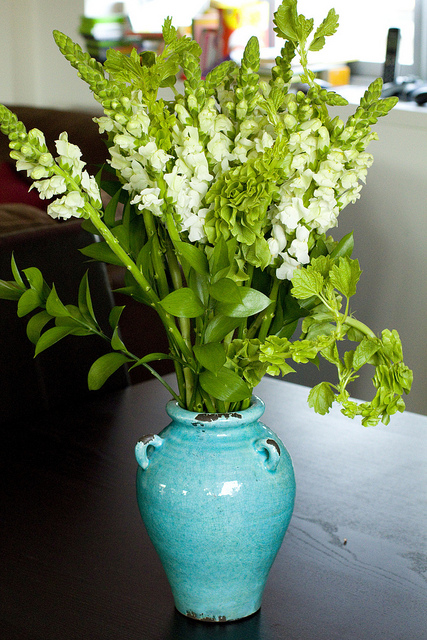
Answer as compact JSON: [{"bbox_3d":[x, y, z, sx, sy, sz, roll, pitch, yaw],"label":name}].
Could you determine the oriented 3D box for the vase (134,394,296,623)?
[{"bbox_3d":[0.003,0.163,0.447,0.127,0.193,0.094,-3,13,-10],"label":"vase"}]
